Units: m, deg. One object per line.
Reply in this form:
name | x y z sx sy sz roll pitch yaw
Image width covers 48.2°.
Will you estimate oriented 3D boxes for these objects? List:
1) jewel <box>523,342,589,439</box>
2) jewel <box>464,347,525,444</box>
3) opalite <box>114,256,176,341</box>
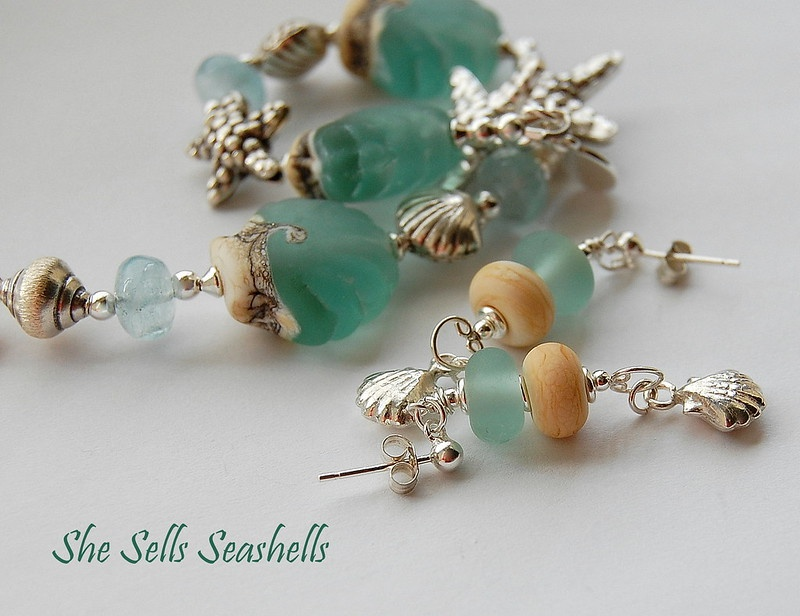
jewel | 0.303 0.162 1.749 0.123 0.149 0.073 -14 -7 9
jewel | 0.195 0.172 1.787 0.121 0.203 0.116 -3 13 8
opalite | -0.557 -0.035 1.928 0.132 0.206 0.115 -4 28 -7
